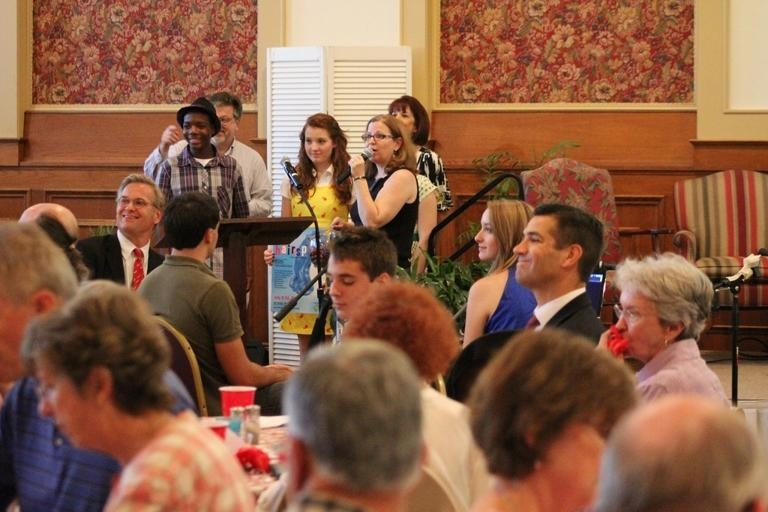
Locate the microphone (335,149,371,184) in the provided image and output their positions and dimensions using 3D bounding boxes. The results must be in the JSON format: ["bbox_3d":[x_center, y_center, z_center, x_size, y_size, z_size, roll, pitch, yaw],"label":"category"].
[{"bbox_3d":[-0.145,-0.529,4.548,0.098,0.083,0.430,5,34,21],"label":"microphone"}]

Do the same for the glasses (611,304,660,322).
[{"bbox_3d":[0.870,0.190,2.795,0.039,0.085,0.154,-2,7,-33],"label":"glasses"}]

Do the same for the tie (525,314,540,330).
[{"bbox_3d":[0.602,0.269,3.291,0.046,0.042,0.056,1,-17,-2],"label":"tie"}]

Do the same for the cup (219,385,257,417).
[{"bbox_3d":[-0.501,0.481,2.704,0.121,0.091,0.116,1,-6,0],"label":"cup"}]
